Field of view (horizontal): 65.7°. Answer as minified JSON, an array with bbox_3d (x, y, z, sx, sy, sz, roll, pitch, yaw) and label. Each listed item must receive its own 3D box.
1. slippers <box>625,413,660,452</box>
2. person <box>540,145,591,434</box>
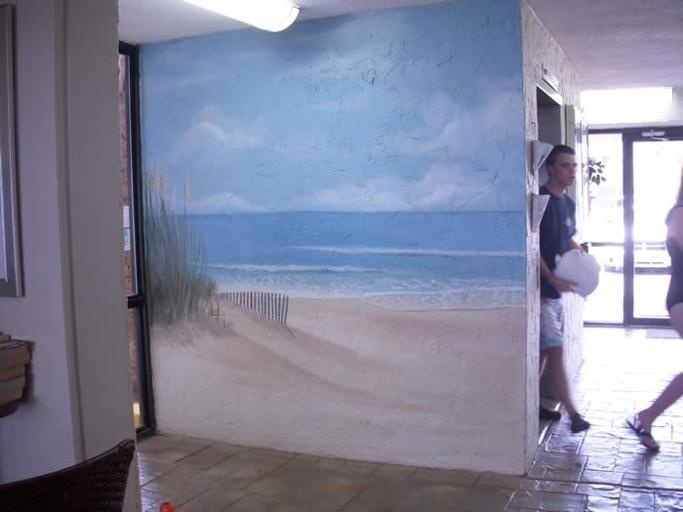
[{"bbox_3d":[2.167,1.285,3.821,0.097,0.071,0.261,-31,44,1],"label":"slippers"},{"bbox_3d":[1.795,0.215,4.279,0.359,2.220,0.681,0,5,21],"label":"person"}]
